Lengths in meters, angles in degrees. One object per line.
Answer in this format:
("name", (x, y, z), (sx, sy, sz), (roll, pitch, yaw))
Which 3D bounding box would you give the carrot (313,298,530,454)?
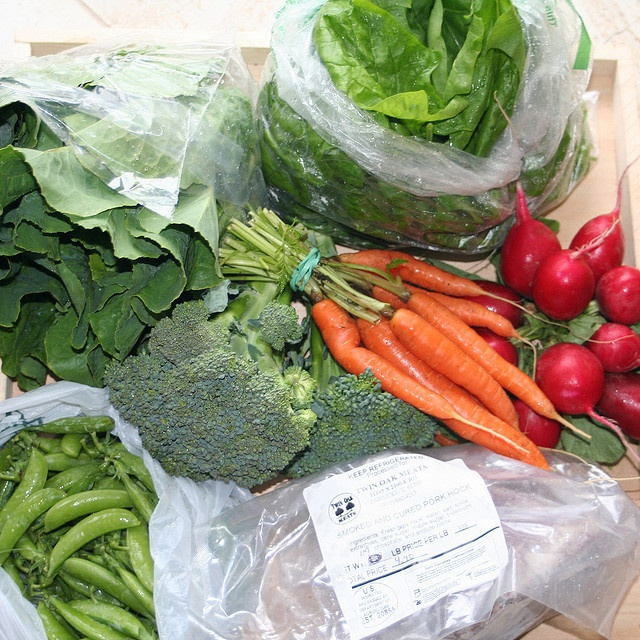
("carrot", (0.170, 0.131, 1.191), (0.511, 0.070, 0.091), (38, 63, 11))

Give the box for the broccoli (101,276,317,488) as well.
("broccoli", (-0.200, 0.115, 1.093), (0.361, 0.119, 0.318), (8, 80, -3))

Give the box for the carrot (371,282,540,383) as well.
("carrot", (0.267, 0.027, 1.236), (0.276, 0.051, 0.072), (35, 19, 13))

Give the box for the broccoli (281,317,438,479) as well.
("broccoli", (0.063, 0.158, 1.096), (0.234, 0.094, 0.201), (-17, 85, -6))

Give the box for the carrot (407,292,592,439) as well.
("carrot", (0.355, 0.095, 1.221), (0.439, 0.057, 0.062), (35, 37, 2))
